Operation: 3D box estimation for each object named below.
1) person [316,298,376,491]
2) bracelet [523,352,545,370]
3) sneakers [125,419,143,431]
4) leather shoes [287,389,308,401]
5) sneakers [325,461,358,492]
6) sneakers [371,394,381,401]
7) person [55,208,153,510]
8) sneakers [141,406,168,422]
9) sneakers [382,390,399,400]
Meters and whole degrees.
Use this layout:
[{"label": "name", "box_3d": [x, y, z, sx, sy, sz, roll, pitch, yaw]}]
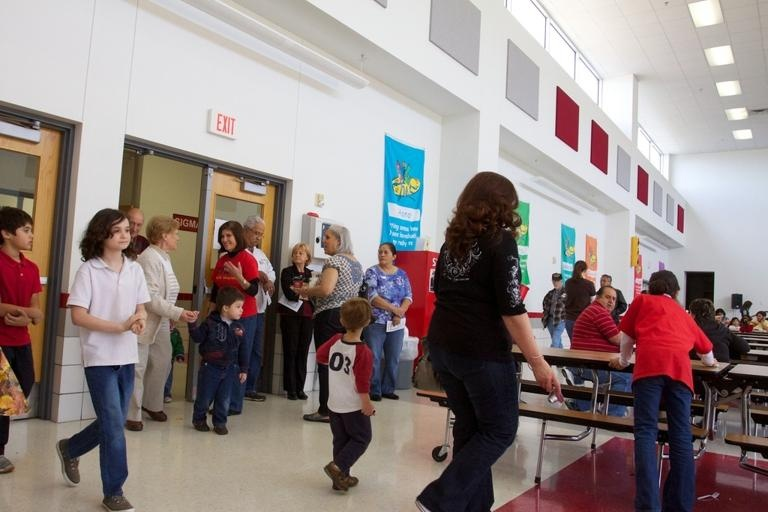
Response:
[{"label": "person", "box_3d": [-0.280, 1.033, 3.995, 0.490, 1.407, 0.293, 4, 0, 19]}, {"label": "bracelet", "box_3d": [0.940, 0.635, 3.264, 0.120, 0.109, 0.091, -20, 11, -34]}, {"label": "sneakers", "box_3d": [-2.303, 1.572, 4.842, 0.132, 0.127, 0.082, 2, -2, 2]}, {"label": "leather shoes", "box_3d": [-1.041, 1.686, 6.321, 0.264, 0.116, 0.091, 0, 0, -6]}, {"label": "sneakers", "box_3d": [-0.324, 1.655, 3.936, 0.346, 0.146, 0.126, 43, 15, -31]}, {"label": "sneakers", "box_3d": [-0.093, 1.731, 6.396, 0.059, 0.047, 0.114, 2, -5, -40]}, {"label": "person", "box_3d": [-1.879, 0.680, 3.543, 0.478, 1.836, 0.396, 3, 0, -25]}, {"label": "sneakers", "box_3d": [-2.282, 1.572, 5.218, 0.275, 0.121, 0.103, 6, 2, 12]}, {"label": "sneakers", "box_3d": [0.093, 1.785, 6.695, 0.204, 0.085, 0.076, -3, -6, 28]}]
